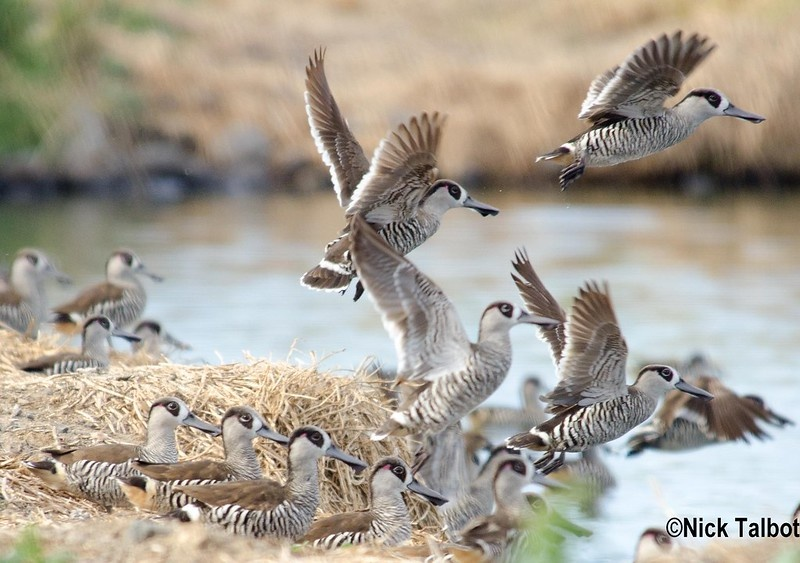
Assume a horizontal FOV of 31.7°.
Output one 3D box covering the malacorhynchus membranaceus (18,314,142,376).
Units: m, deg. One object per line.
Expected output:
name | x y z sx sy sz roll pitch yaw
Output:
malacorhynchus membranaceus | -3.862 0.866 17.081 1.449 0.891 0.529 1 12 1
